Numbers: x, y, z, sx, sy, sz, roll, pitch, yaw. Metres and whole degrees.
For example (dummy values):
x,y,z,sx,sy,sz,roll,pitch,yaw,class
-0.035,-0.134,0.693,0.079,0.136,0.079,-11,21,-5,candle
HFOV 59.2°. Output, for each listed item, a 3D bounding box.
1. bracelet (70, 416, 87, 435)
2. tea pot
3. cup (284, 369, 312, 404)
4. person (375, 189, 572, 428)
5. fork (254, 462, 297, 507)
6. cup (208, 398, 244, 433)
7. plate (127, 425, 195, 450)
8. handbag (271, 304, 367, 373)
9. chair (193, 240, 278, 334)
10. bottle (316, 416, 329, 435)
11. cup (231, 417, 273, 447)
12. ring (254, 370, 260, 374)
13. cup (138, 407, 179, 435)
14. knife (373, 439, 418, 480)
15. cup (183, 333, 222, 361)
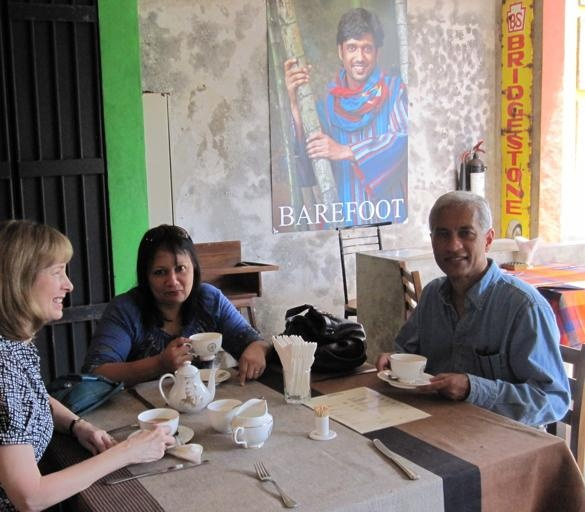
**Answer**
x,y,z,sx,sy,sz,roll,pitch,yaw,class
-0.571,0.461,1.385,0.010,0.035,0.035,11,-10,-3,bracelet
-0.310,0.396,1.547,0.168,0.150,0.132,0,-2,-32,tea pot
0.017,0.397,1.593,0.088,0.104,0.087,1,4,0,cup
0.636,0.262,1.932,0.562,0.986,0.742,-1,4,-30,person
-0.037,0.483,1.082,0.030,0.029,0.187,-2,10,-18,fork
-0.178,0.422,1.387,0.068,0.058,0.081,-1,7,-20,cup
-0.308,0.460,1.313,0.101,0.050,0.085,7,-5,-35,plate
0.145,0.273,1.968,0.210,0.150,0.295,1,1,-13,handbag
-0.499,0.162,4.404,0.715,0.970,0.728,-3,6,-25,chair
0.075,0.426,1.292,0.036,0.047,0.041,1,7,4,bottle
-0.096,0.430,1.250,0.086,0.057,0.068,-6,6,-40,cup
-0.119,0.406,1.799,0.018,0.006,0.013,-6,7,-34,ring
-0.350,0.417,1.328,0.070,0.049,0.067,1,2,0,cup
0.236,0.457,1.169,0.024,0.012,0.169,-7,3,-10,knife
-0.292,0.301,1.741,0.082,0.071,0.105,-1,-4,-14,cup
